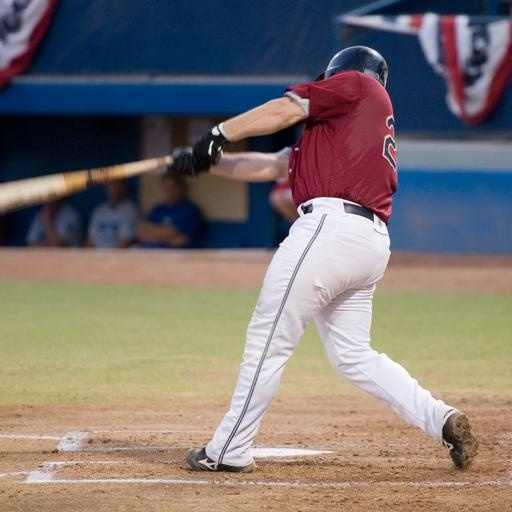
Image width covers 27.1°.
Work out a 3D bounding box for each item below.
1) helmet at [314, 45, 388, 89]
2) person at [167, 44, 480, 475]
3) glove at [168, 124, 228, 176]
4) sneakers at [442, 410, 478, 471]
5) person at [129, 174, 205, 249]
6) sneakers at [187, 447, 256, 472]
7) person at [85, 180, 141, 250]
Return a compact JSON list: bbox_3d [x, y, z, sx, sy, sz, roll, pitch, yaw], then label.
[{"bbox_3d":[0.400,-0.789,4.479,0.254,0.204,0.168,7,3,3],"label":"helmet"},{"bbox_3d":[0.287,0.070,4.355,1.229,1.650,0.383,1,10,-5],"label":"person"},{"bbox_3d":[-0.237,-0.429,4.408,0.255,0.167,0.086,-43,28,7],"label":"glove"},{"bbox_3d":[0.834,0.759,4.396,0.119,0.220,0.162,-20,23,-7],"label":"sneakers"},{"bbox_3d":[-0.552,-0.262,6.343,0.348,0.359,1.204,-10,1,-10],"label":"person"},{"bbox_3d":[-0.126,0.839,4.400,0.313,0.105,0.100,6,1,5],"label":"sneakers"},{"bbox_3d":[-0.753,-0.204,5.458,0.353,0.273,1.030,-5,12,-6],"label":"person"}]
